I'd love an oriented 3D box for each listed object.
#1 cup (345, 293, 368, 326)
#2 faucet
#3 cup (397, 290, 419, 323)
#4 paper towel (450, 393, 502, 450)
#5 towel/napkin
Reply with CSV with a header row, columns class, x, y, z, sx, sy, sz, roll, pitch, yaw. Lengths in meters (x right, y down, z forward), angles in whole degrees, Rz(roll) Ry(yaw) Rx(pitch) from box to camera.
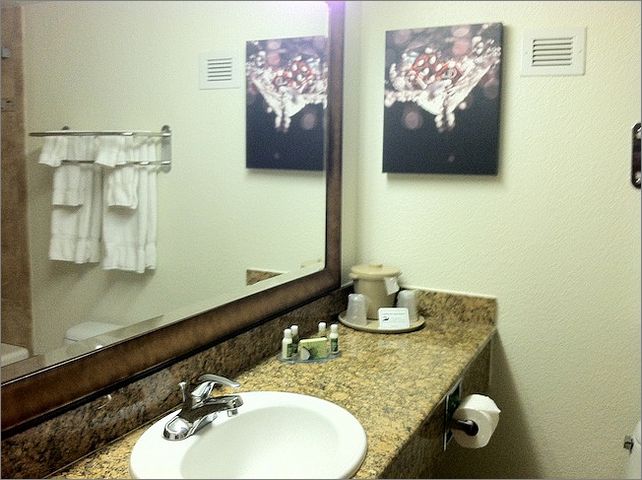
class,x,y,z,sx,sy,sz,roll,pitch,yaw
cup,0.147,0.282,2.033,0.106,0.149,0.106,1,1,0
faucet,-0.320,0.441,1.364,0.086,0.141,0.265,-6,-5,38
cup,0.370,0.279,2.081,0.112,0.130,0.114,2,-4,0
paper towel,0.527,0.597,1.717,0.157,0.175,0.200,8,4,18
towel/napkin,-0.551,-0.097,1.206,0.127,0.411,0.356,4,5,41
